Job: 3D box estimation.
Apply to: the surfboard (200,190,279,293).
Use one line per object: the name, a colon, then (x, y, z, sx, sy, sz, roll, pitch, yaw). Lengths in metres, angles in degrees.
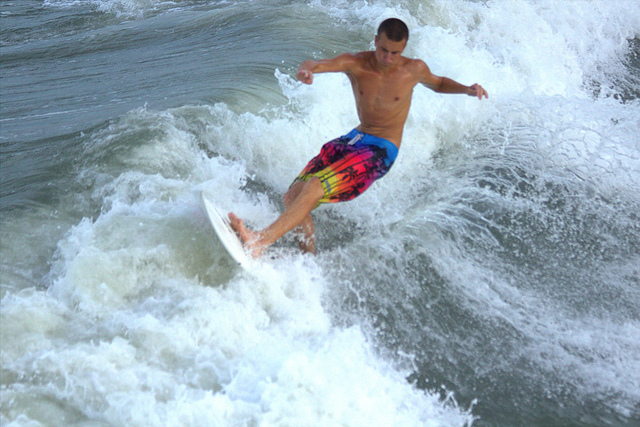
surfboard: (-0.856, 0.296, 7.023, 1.166, 0.442, 0.378, 44, 65, 11)
